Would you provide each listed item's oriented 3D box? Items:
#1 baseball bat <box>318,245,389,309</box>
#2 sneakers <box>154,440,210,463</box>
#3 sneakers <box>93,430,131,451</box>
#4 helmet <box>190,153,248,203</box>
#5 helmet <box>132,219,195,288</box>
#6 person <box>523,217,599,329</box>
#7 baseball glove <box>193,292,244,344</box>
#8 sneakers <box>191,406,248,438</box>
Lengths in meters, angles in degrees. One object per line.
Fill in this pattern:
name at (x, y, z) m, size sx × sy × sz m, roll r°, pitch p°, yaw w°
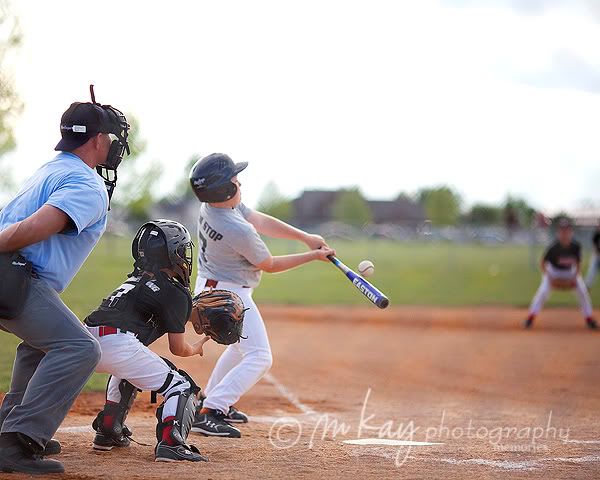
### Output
baseball bat at (0.318, 0.192, 6.358) m, size 0.139 × 0.151 × 1.117 m, roll -13°, pitch 29°, yaw -20°
sneakers at (-0.737, 1.324, 5.611) m, size 0.378 × 0.124 × 0.125 m, roll 3°, pitch -1°, yaw -5°
sneakers at (-1.210, 1.310, 5.880) m, size 0.101 × 0.099 × 0.246 m, roll 7°, pitch 2°, yaw 32°
helmet at (-0.579, -0.431, 6.317) m, size 0.377 × 0.355 × 0.191 m, roll 10°, pitch -6°, yaw -6°
helmet at (-0.852, 0.087, 5.703) m, size 0.379 × 0.455 × 0.465 m, roll 9°, pitch 4°, yaw 36°
person at (1.991, 0.270, 6.723) m, size 0.539 × 0.868 × 0.322 m, roll 7°, pitch -7°, yaw 20°
baseball glove at (-0.560, 0.549, 5.982) m, size 0.385 × 0.367 × 0.306 m, roll 4°, pitch 40°, yaw -8°
sneakers at (-0.583, 1.300, 6.296) m, size 0.232 × 0.085 × 0.268 m, roll 3°, pitch 0°, yaw 9°
